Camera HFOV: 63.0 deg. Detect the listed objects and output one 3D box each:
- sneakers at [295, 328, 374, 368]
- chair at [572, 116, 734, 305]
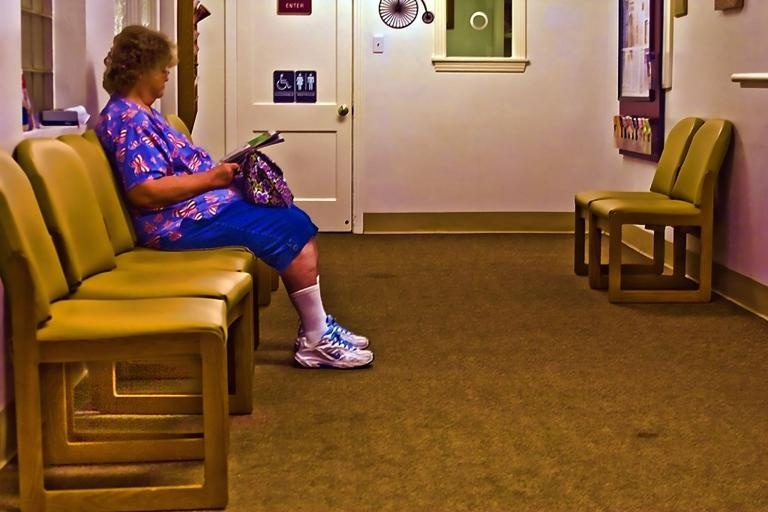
[{"bbox_3d":[-0.247,0.440,3.014,0.408,0.212,0.156,1,9,-7],"label":"sneakers"},{"bbox_3d":[1.746,-0.339,4.106,0.808,1.108,0.746,0,13,-1],"label":"chair"}]
